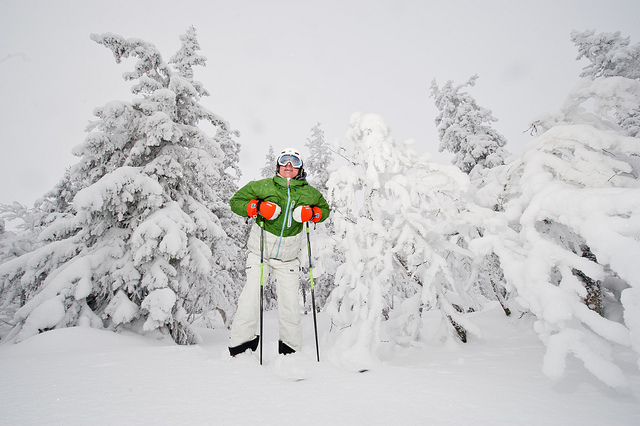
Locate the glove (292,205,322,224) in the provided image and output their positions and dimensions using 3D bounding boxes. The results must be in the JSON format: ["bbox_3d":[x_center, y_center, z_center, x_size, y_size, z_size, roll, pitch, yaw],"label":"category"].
[{"bbox_3d":[-0.211,0.025,7.966,0.603,0.362,0.294,-9,15,-36],"label":"glove"}]

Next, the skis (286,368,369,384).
[{"bbox_3d":[0.138,2.645,6.930,1.345,0.029,0.103,-3,13,-14],"label":"skis"}]

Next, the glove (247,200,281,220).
[{"bbox_3d":[-1.038,-0.064,7.767,0.485,0.330,0.196,11,-11,13],"label":"glove"}]
